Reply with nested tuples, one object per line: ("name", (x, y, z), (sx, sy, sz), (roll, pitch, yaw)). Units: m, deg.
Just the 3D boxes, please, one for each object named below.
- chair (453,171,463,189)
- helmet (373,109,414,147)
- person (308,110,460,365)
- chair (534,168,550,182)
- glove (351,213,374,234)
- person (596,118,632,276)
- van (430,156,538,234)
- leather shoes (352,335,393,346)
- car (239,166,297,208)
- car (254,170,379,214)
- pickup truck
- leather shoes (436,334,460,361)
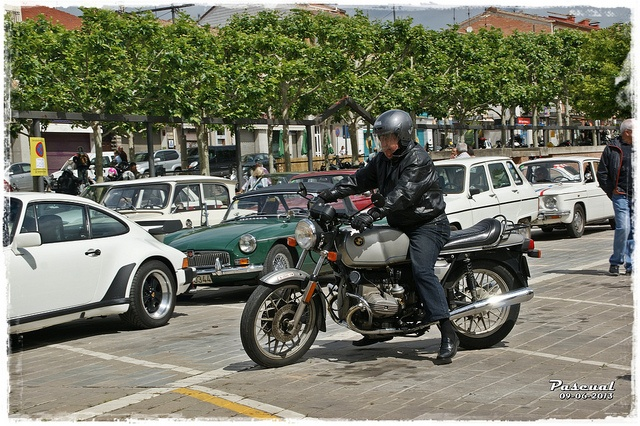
("chair", (3.052, -0.736, 14.210), (0.264, 0.336, 0.134), (-1, -16, 38))
("helmet", (0.875, -0.991, 7.330), (0.456, 0.346, 0.350), (-31, 25, -29))
("person", (0.906, 0.249, 7.314), (1.204, 2.821, 1.031), (-2, 7, 12))
("chair", (6.317, -1.096, 18.508), (0.331, 0.404, 0.381), (9, 28, 32))
("glove", (0.447, 0.093, 6.877), (0.239, 0.204, 0.177), (-4, 6, -14))
("person", (5.167, -0.275, 11.317), (0.571, 2.672, 0.450), (3, 9, 41))
("van", (3.613, -0.490, 14.841), (2.766, 1.227, 1.549), (-1, -2, -43))
("leather shoes", (0.653, 1.519, 7.800), (0.406, 0.116, 0.166), (-10, -39, 12))
("car", (-1.459, -0.745, 18.287), (2.016, 0.909, 1.044), (1, -3, -37))
("car", (0.500, -0.612, 15.829), (1.384, 0.929, 2.278), (3, 5, 41))
("pickup truck", (-3.533, -0.328, 14.971), (1.635, 1.220, 2.919), (-3, -4, 43))
("leather shoes", (1.436, 1.485, 7.237), (0.146, 0.132, 0.393), (-2, 11, 28))
